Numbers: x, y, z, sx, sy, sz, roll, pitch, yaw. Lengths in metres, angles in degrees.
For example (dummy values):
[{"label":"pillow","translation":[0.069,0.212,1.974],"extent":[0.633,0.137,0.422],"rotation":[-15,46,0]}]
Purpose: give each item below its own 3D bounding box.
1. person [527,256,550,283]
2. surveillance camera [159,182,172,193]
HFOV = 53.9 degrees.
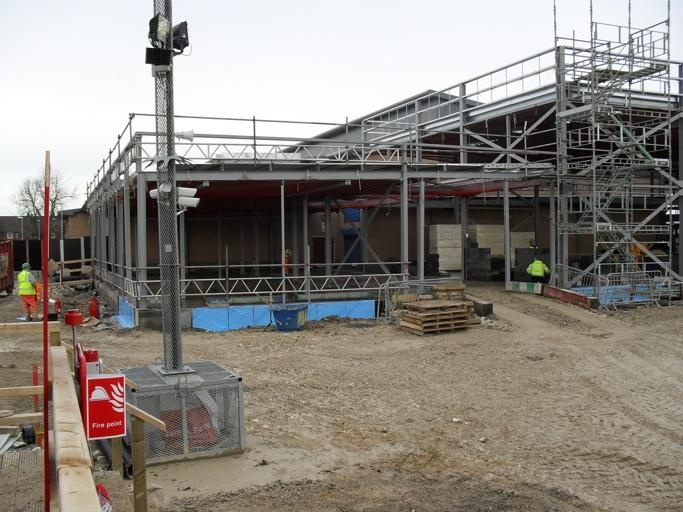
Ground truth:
[{"label":"person","translation":[7.843,0.645,26.637],"extent":[0.882,1.222,2.790],"rotation":[3,9,17]},{"label":"surveillance camera","translation":[-3.049,-1.133,11.489],"extent":[0.148,0.131,0.194],"rotation":[-23,20,-33]}]
